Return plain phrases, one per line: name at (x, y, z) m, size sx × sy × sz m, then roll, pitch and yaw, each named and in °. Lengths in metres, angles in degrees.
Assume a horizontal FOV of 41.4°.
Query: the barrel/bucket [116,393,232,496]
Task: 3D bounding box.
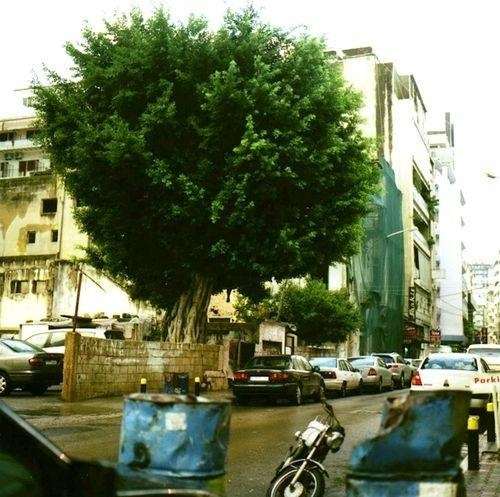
barrel/bucket at (-0.233, 0.585, 2.155) m, size 0.293 × 0.371 × 0.325 m, roll 1°, pitch -4°, yaw 5°
